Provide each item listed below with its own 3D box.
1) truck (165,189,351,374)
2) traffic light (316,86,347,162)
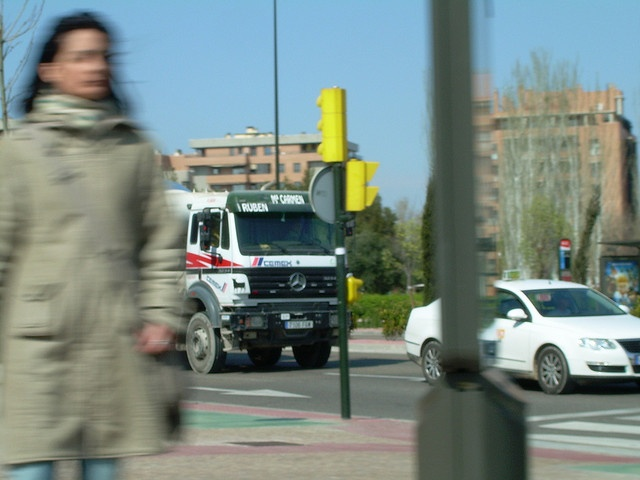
[{"bbox_3d":[-0.895,0.621,19.686,1.939,1.796,3.127,2,-8,-26],"label":"truck"},{"bbox_3d":[0.121,-1.097,12.830,0.295,0.690,0.270,0,0,0],"label":"traffic light"}]
